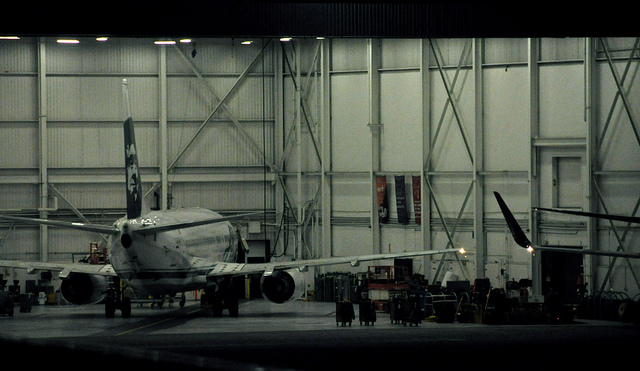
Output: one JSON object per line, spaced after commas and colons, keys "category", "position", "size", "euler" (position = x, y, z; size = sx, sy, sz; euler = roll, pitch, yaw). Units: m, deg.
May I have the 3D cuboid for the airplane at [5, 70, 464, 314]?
{"category": "airplane", "position": [-9.187, -0.168, 76.056], "size": [25.598, 16.161, 25.852], "euler": [2, -5, -35]}
